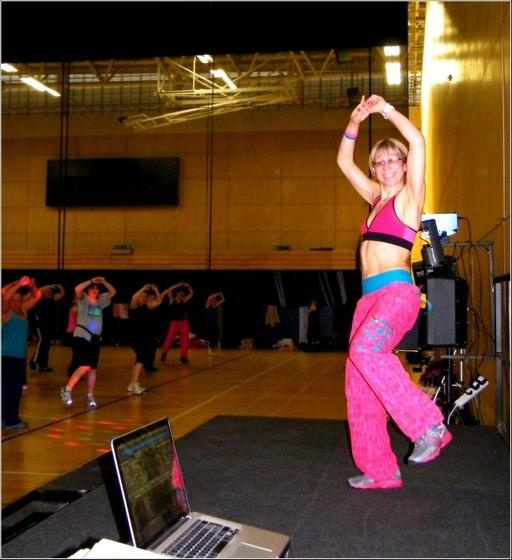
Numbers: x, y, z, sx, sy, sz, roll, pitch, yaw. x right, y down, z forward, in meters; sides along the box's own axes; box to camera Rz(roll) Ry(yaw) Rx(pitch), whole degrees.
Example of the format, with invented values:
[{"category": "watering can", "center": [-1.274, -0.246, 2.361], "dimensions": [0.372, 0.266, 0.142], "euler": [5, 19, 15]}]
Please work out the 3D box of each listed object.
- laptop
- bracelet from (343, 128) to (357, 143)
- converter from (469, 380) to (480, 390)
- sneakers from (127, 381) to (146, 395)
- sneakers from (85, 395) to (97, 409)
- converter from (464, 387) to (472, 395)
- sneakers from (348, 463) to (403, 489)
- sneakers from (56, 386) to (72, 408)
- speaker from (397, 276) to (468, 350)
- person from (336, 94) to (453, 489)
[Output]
[{"category": "laptop", "center": [-0.151, 0.648, 1.679], "dimensions": [0.413, 0.375, 0.439], "euler": [2, 1, 21]}, {"category": "bracelet", "center": [0.461, -0.689, 2.798], "dimensions": [0.061, 0.075, 0.070], "euler": [-4, 32, -9]}, {"category": "converter", "center": [1.392, 0.649, 3.631], "dimensions": [0.056, 0.036, 0.087], "euler": [-3, 5, 21]}, {"category": "sneakers", "center": [-1.398, 1.246, 6.745], "dimensions": [0.210, 0.112, 0.109], "euler": [5, 0, -31]}, {"category": "sneakers", "center": [-1.677, 1.244, 5.844], "dimensions": [0.063, 0.096, 0.204], "euler": [-3, -25, -25]}, {"category": "converter", "center": [1.350, 0.695, 3.639], "dimensions": [0.036, 0.040, 0.067], "euler": [-29, -17, 18]}, {"category": "sneakers", "center": [0.521, 0.855, 2.536], "dimensions": [0.234, 0.128, 0.093], "euler": [6, -10, 3]}, {"category": "sneakers", "center": [-2.022, 1.188, 6.017], "dimensions": [0.107, 0.161, 0.318], "euler": [4, 1, -31]}, {"category": "speaker", "center": [1.202, 0.202, 4.046], "dimensions": [0.355, 0.802, 0.731], "euler": [0, -3, 3]}, {"category": "person", "center": [0.588, 0.056, 2.526], "dimensions": [0.441, 1.742, 0.588], "euler": [-3, 4, 11]}]
